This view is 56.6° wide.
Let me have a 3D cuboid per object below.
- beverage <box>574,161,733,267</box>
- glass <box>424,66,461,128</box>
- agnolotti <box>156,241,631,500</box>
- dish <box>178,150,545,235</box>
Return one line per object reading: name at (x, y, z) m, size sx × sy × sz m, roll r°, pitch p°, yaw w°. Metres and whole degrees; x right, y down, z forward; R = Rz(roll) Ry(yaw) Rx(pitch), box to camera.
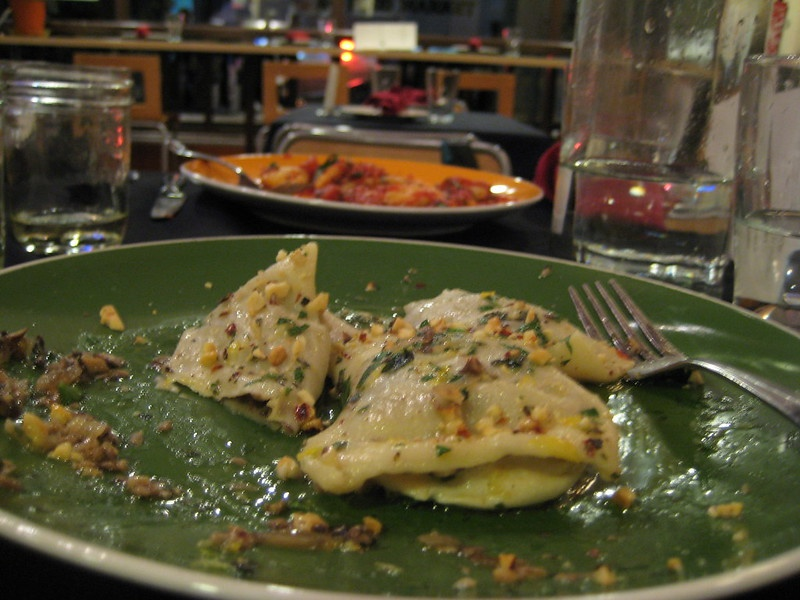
beverage at (0.509, -0.182, 1.533) m, size 0.281 × 0.216 × 0.285 m, roll 11°, pitch 22°, yaw 28°
glass at (0.087, -0.436, 1.550) m, size 0.060 × 0.102 × 0.037 m, roll -17°, pitch 31°, yaw -39°
agnolotti at (-0.007, 0.119, 1.069) m, size 0.470 × 0.086 × 0.369 m, roll 7°, pitch 27°, yaw 18°
dish at (-0.108, -0.295, 1.994) m, size 0.964 × 0.158 × 0.768 m, roll 5°, pitch 13°, yaw 10°
